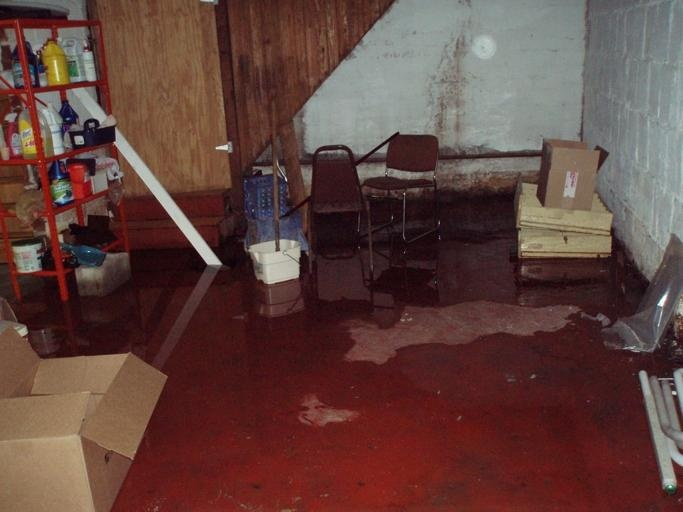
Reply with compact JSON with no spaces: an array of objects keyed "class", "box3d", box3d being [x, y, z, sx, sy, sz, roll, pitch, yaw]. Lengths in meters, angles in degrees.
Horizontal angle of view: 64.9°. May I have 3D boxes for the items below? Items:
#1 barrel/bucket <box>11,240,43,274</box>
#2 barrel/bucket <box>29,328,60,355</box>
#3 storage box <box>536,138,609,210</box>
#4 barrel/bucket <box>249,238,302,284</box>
[{"class":"barrel/bucket","box3d":[-2.550,-0.016,4.406,0.229,0.266,0.232,1,16,0]},{"class":"barrel/bucket","box3d":[-2.121,0.614,3.882,0.207,0.178,0.171,-1,9,12]},{"class":"storage box","box3d":[2.086,-0.766,5.007,0.471,0.549,0.599,5,22,18]},{"class":"barrel/bucket","box3d":[-0.565,0.024,4.736,0.412,0.258,0.370,-7,10,-29]}]
